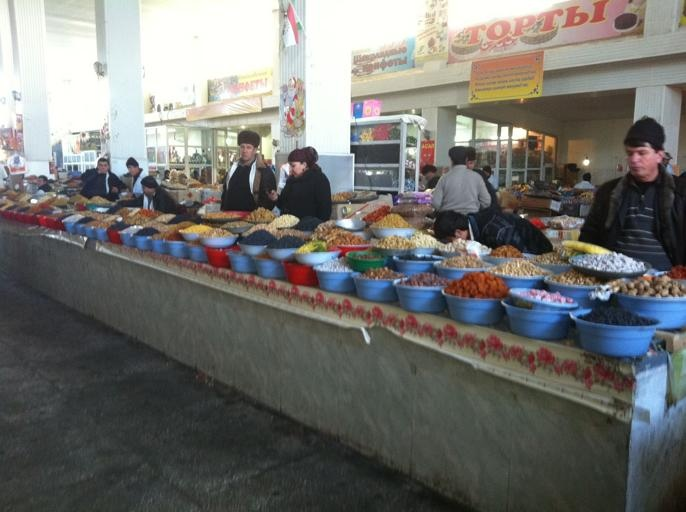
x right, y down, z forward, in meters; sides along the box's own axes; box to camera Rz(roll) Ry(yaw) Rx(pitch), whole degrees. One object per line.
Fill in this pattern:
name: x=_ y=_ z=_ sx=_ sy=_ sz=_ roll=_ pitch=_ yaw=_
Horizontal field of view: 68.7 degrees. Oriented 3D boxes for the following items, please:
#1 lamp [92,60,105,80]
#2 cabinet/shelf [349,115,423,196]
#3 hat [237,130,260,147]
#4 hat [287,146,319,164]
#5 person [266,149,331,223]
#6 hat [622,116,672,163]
lamp: x=-4.167 y=-3.207 z=8.621 sx=0.234 sy=0.335 sz=0.107 roll=20 pitch=17 yaw=28
cabinet/shelf: x=0.426 y=-1.524 z=7.434 sx=0.930 sy=1.218 sz=0.810 roll=2 pitch=34 yaw=8
hat: x=-0.882 y=-1.086 z=4.670 sx=0.169 sy=0.136 sz=0.195 roll=6 pitch=8 yaw=-3
hat: x=-0.344 y=-0.862 z=4.274 sx=0.187 sy=0.146 sz=0.158 roll=1 pitch=14 yaw=-6
person: x=-0.358 y=-0.448 z=4.380 sx=0.523 sy=0.956 sz=0.443 roll=1 pitch=5 yaw=24
hat: x=1.620 y=-0.634 z=2.683 sx=0.272 sy=0.220 sz=0.166 roll=-10 pitch=17 yaw=-38
